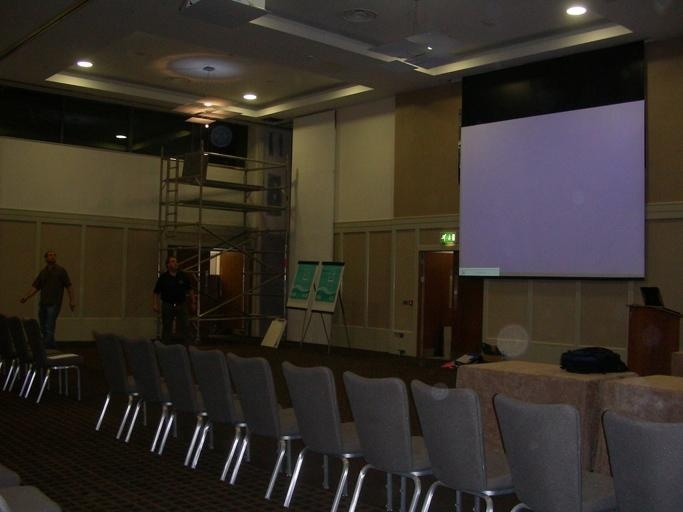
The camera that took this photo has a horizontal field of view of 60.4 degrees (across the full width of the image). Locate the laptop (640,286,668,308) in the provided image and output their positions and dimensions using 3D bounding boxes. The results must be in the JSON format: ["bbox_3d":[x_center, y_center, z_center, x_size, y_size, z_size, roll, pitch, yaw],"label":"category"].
[{"bbox_3d":[4.034,0.521,7.543,0.265,0.324,0.313,-15,10,-40],"label":"laptop"}]
